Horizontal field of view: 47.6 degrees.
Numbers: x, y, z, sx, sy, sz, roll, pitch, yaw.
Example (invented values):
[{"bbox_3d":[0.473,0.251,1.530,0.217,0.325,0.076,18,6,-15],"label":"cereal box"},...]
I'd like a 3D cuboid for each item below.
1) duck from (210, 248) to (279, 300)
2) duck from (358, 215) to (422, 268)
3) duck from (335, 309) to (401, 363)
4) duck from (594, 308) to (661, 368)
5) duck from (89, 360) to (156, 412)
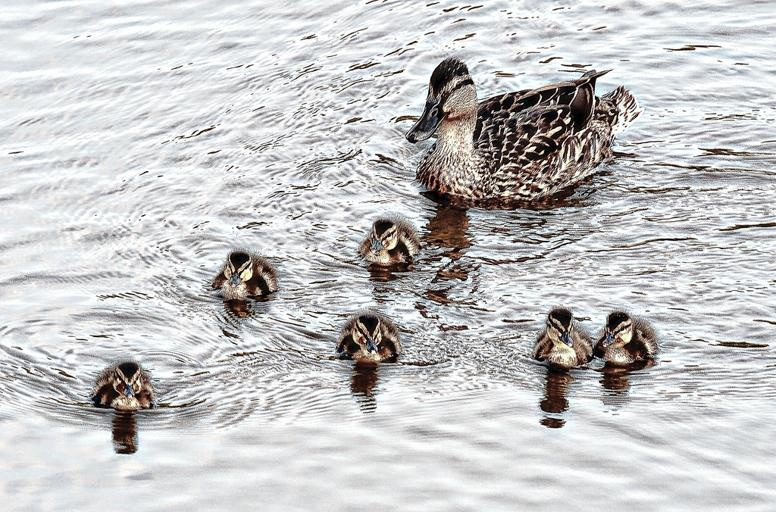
[{"bbox_3d":[-1.408,0.154,8.561,0.754,0.648,0.409,3,-56,-4],"label":"duck"},{"bbox_3d":[0.102,-0.156,8.947,0.660,0.655,0.370,4,-65,16],"label":"duck"},{"bbox_3d":[-0.138,0.689,7.627,0.538,0.556,0.308,0,-67,0],"label":"duck"},{"bbox_3d":[2.118,0.685,7.614,0.535,0.645,0.332,9,-60,36],"label":"duck"},{"bbox_3d":[-2.144,1.085,7.211,0.562,0.546,0.277,4,-74,-16],"label":"duck"}]
